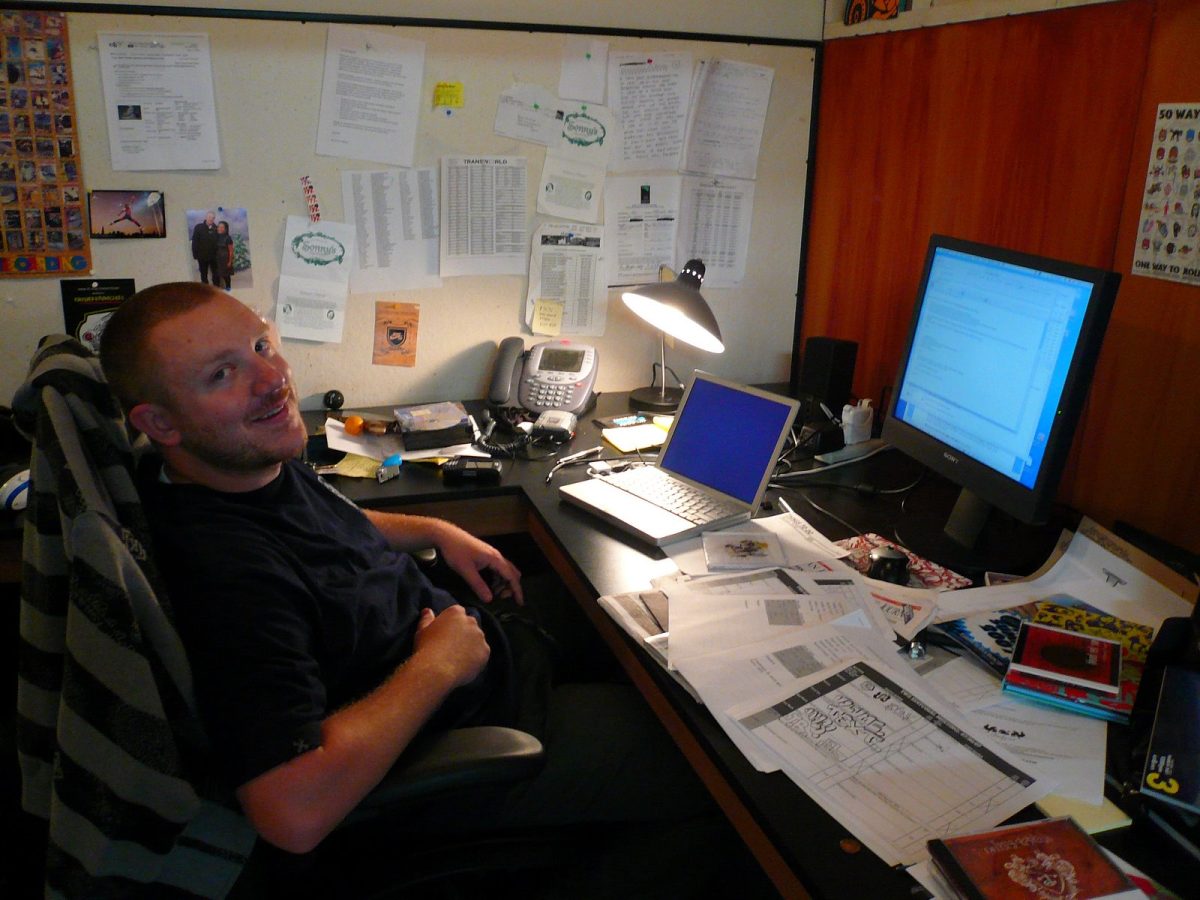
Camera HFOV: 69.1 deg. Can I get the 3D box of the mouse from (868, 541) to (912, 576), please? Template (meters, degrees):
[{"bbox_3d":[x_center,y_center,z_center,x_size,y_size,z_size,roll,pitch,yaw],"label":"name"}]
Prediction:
[{"bbox_3d":[0.525,0.189,1.593,0.055,0.050,0.056,15,30,22],"label":"mouse"}]

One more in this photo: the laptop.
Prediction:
[{"bbox_3d":[0.163,0.008,1.850,0.403,0.241,0.376,-13,21,-40],"label":"laptop"}]

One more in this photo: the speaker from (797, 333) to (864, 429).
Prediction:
[{"bbox_3d":[0.616,-0.174,2.325,0.100,0.301,0.174,-15,27,-34],"label":"speaker"}]

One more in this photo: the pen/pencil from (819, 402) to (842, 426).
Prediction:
[{"bbox_3d":[0.596,-0.089,2.275,0.029,0.018,0.102,-33,27,-8],"label":"pen/pencil"}]

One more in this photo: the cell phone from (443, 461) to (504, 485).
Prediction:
[{"bbox_3d":[-0.299,0.056,2.005,0.088,0.031,0.065,0,18,-6],"label":"cell phone"}]

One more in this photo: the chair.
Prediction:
[{"bbox_3d":[-0.551,0.091,1.608,0.720,0.840,0.581,-8,11,-14],"label":"chair"}]

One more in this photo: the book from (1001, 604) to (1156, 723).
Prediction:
[{"bbox_3d":[0.740,0.332,1.352,0.166,0.073,0.219,14,25,33],"label":"book"}]

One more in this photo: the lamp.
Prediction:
[{"bbox_3d":[0.187,-0.322,2.388,0.291,0.410,0.304,-11,27,-30],"label":"lamp"}]

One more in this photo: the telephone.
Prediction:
[{"bbox_3d":[-0.179,-0.184,2.376,0.313,0.143,0.365,20,40,28],"label":"telephone"}]

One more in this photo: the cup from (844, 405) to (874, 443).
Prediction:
[{"bbox_3d":[0.627,-0.060,2.130,0.066,0.094,0.055,8,22,21],"label":"cup"}]
